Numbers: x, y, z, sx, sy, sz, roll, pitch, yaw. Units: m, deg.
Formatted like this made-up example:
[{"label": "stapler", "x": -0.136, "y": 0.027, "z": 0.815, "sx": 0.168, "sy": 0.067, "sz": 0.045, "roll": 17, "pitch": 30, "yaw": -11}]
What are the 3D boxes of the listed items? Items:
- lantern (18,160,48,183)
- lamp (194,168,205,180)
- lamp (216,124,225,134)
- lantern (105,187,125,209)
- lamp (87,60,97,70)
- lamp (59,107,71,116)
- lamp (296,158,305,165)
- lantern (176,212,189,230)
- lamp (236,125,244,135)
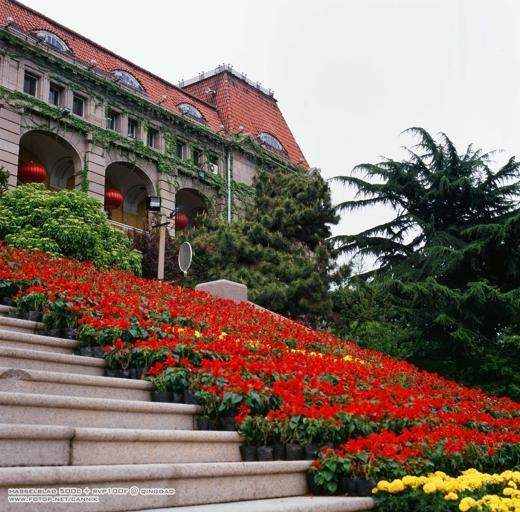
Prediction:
[{"label": "lantern", "x": -9.239, "y": -3.429, "z": 23.523, "sx": 1.040, "sy": 1.006, "sz": 0.912, "roll": 8, "pitch": -14, "yaw": -26}, {"label": "lamp", "x": -3.033, "y": -4.188, "z": 29.727, "sx": 0.581, "sy": 0.538, "sz": 0.277, "roll": 7, "pitch": -13, "yaw": -20}, {"label": "lamp", "x": -2.176, "y": -7.033, "z": 32.355, "sx": 0.400, "sy": 0.613, "sz": 0.163, "roll": 16, "pitch": 3, "yaw": 43}, {"label": "lantern", "x": -6.679, "y": -2.598, "z": 26.500, "sx": 0.779, "sy": 1.029, "sz": 0.815, "roll": 4, "pitch": -3, "yaw": -26}, {"label": "lamp", "x": -7.285, "y": -8.370, "z": 25.060, "sx": 0.388, "sy": 0.513, "sz": 0.434, "roll": -1, "pitch": -8, "yaw": -5}, {"label": "lamp", "x": -7.986, "y": -5.937, "z": 23.875, "sx": 0.294, "sy": 0.342, "sz": 0.220, "roll": 4, "pitch": 2, "yaw": 0}, {"label": "lamp", "x": 2.659, "y": -6.127, "z": 37.521, "sx": 0.519, "sy": 0.148, "sz": 0.473, "roll": 36, "pitch": 33, "yaw": 31}, {"label": "lantern", "x": -3.912, "y": -1.716, "z": 28.651, "sx": 0.651, "sy": 0.875, "sz": 0.720, "roll": -1, "pitch": 0, "yaw": -18}, {"label": "lamp", "x": -1.115, "y": -7.168, "z": 32.989, "sx": 0.337, "sy": 0.554, "sz": 0.176, "roll": 14, "pitch": -2, "yaw": 28}]
